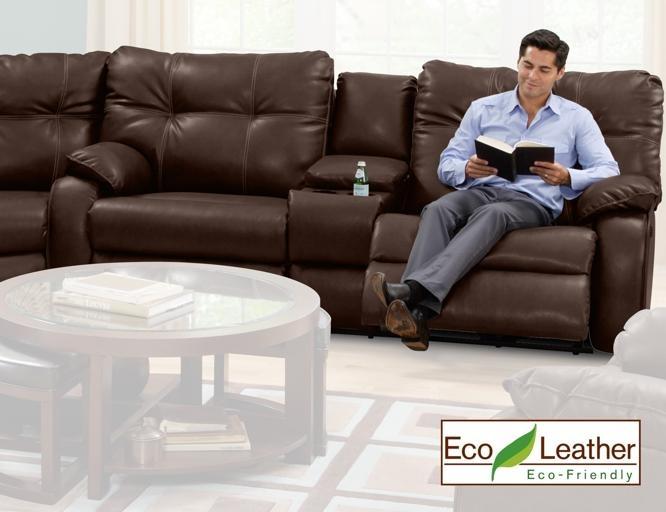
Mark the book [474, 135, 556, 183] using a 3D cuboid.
[{"bbox_3d":[0.771,-0.412,2.698,0.326,0.180,0.176,5,11,15],"label":"book"}]

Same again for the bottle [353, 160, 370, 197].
[{"bbox_3d":[0.133,-0.370,3.003,0.079,0.153,0.214,2,10,2],"label":"bottle"}]

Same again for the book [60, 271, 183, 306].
[{"bbox_3d":[-0.587,0.088,1.720,0.182,0.030,0.136,8,12,21],"label":"book"}]

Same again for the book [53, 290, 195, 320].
[{"bbox_3d":[-0.574,0.128,1.697,0.185,0.025,0.138,8,17,18],"label":"book"}]

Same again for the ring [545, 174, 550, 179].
[{"bbox_3d":[0.928,-0.344,2.731,0.022,0.022,0.010,1,1,14],"label":"ring"}]

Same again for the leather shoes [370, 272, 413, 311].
[{"bbox_3d":[0.215,0.131,2.465,0.192,0.197,0.085,-5,0,-25],"label":"leather shoes"}]
